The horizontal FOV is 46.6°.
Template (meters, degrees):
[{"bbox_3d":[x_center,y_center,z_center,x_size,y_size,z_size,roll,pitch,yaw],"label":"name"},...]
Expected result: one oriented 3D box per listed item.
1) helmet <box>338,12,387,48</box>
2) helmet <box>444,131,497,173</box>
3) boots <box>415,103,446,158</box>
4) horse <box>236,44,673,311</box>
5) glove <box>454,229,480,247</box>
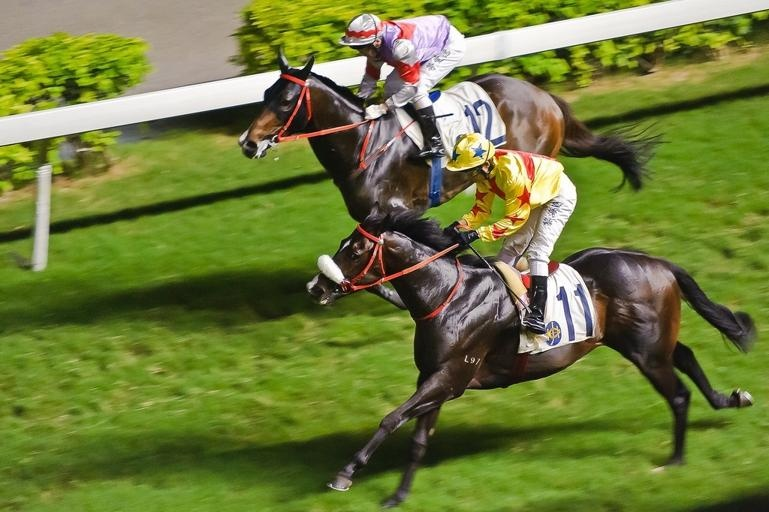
[{"bbox_3d":[-0.187,-1.733,6.768,0.397,0.148,0.242,-15,39,-17],"label":"helmet"},{"bbox_3d":[0.589,-0.697,5.813,0.412,0.136,0.233,-12,26,6],"label":"helmet"},{"bbox_3d":[0.321,-0.948,6.853,0.183,0.413,0.211,-11,22,15],"label":"boots"},{"bbox_3d":[0.677,-0.799,7.431,3.815,1.450,0.743,-11,22,-25],"label":"horse"},{"bbox_3d":[0.537,-0.114,5.826,0.153,0.111,0.043,-10,22,3],"label":"glove"}]
